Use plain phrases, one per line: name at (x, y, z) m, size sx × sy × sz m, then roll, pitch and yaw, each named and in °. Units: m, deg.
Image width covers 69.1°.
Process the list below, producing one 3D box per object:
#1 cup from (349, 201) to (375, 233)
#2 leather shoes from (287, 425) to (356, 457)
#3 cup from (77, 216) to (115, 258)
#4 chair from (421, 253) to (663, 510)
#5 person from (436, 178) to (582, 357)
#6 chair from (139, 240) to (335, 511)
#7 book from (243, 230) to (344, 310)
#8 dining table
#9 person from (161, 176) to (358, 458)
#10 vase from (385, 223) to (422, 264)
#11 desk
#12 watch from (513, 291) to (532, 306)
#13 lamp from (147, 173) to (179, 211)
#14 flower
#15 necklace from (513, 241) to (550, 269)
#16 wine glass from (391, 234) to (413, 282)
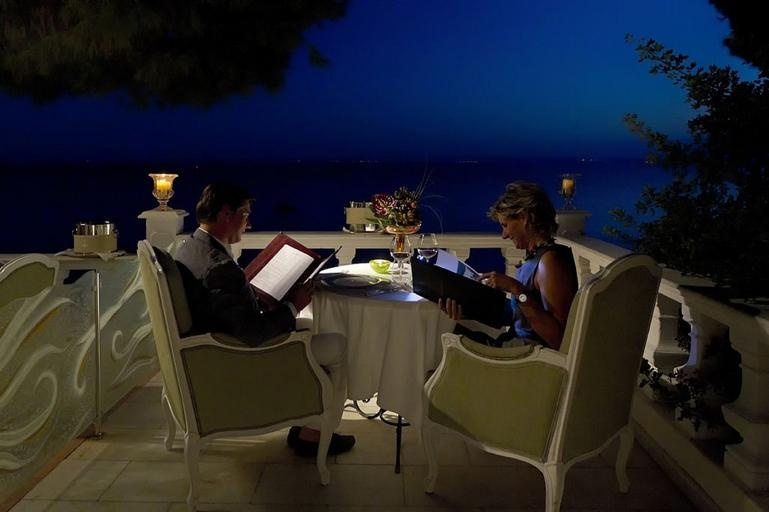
cup at (-0.249, -0.393, 5.470) m, size 0.329 × 0.301 × 0.239 m, roll 0°, pitch 4°, yaw 0°
leather shoes at (-0.440, 1.273, 3.836) m, size 0.475 × 0.197 × 0.179 m, roll -1°, pitch 7°, yaw -4°
cup at (-1.951, -0.121, 3.853) m, size 0.232 × 0.188 × 0.239 m, roll 0°, pitch 3°, yaw 0°
chair at (1.121, 0.435, 3.708) m, size 1.354 × 1.870 × 1.388 m, roll -3°, pitch 5°, yaw -39°
person at (0.793, 0.024, 3.901) m, size 0.917 × 1.612 × 1.016 m, roll 4°, pitch 6°, yaw 14°
chair at (-1.004, 0.553, 4.136) m, size 1.448 × 1.917 × 1.373 m, roll -2°, pitch 7°, yaw -23°
book at (-0.592, 0.108, 3.439) m, size 0.471 × 0.535 × 0.161 m, roll 47°, pitch 3°, yaw -44°
dining table at (0.044, 0.596, 4.032) m, size 1.215 × 0.739 × 1.226 m, roll 5°, pitch 2°, yaw -9°
person at (-0.759, 0.500, 3.693) m, size 1.141 × 1.872 × 0.808 m, roll -7°, pitch 9°, yaw -38°
vase at (0.156, -0.099, 4.284) m, size 0.269 × 0.427 × 0.276 m, roll 2°, pitch 3°, yaw 3°
desk at (-2.044, 0.599, 3.977) m, size 0.483 × 1.148 × 0.583 m, roll -4°, pitch -3°, yaw -32°
watch at (0.770, 0.234, 3.119) m, size 0.088 × 0.053 × 0.089 m, roll 0°, pitch -6°, yaw 3°
lamp at (-2.164, -0.617, 5.451) m, size 0.293 × 0.331 × 0.278 m, roll -1°, pitch 3°, yaw -33°
flower at (0.136, -0.316, 4.119) m, size 0.499 × 0.341 × 0.554 m, roll -13°, pitch -2°, yaw -36°
necklace at (0.867, -0.008, 3.310) m, size 0.177 × 0.063 × 0.111 m, roll -33°, pitch -3°, yaw 31°
wine glass at (0.122, 0.002, 4.206) m, size 0.161 × 0.367 × 0.162 m, roll 4°, pitch 14°, yaw 9°
